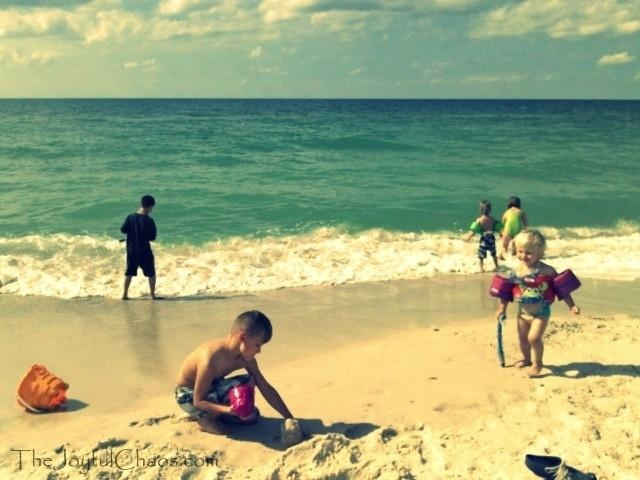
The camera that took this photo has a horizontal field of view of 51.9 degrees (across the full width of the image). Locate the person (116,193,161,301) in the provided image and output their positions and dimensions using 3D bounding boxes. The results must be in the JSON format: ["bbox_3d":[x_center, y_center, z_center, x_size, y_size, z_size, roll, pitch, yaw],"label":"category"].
[{"bbox_3d":[-3.434,0.126,12.387,0.796,1.964,0.868,-8,14,-15],"label":"person"}]

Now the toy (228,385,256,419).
[{"bbox_3d":[-0.978,1.999,8.208,0.333,0.380,0.292,-7,13,-9],"label":"toy"}]

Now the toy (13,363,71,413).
[{"bbox_3d":[-3.708,1.991,8.964,0.580,0.620,0.607,15,-5,15],"label":"toy"}]

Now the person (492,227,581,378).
[{"bbox_3d":[2.917,0.845,8.992,1.145,2.006,0.463,-1,14,16],"label":"person"}]
